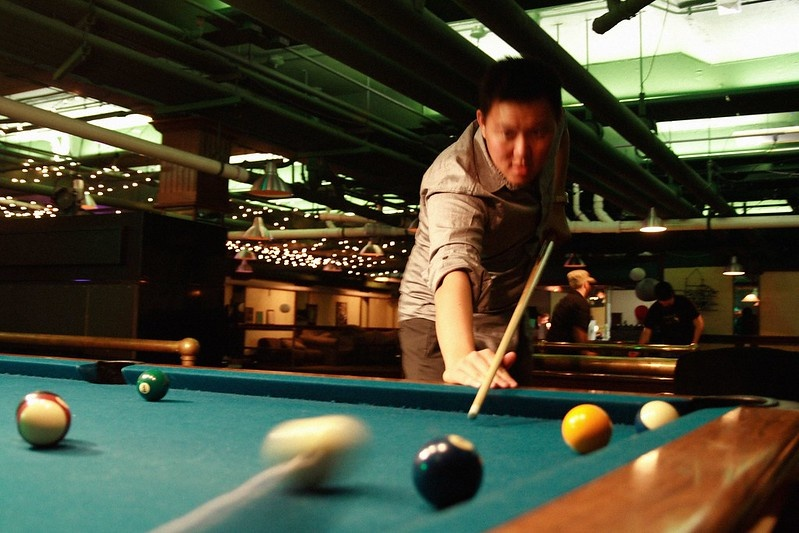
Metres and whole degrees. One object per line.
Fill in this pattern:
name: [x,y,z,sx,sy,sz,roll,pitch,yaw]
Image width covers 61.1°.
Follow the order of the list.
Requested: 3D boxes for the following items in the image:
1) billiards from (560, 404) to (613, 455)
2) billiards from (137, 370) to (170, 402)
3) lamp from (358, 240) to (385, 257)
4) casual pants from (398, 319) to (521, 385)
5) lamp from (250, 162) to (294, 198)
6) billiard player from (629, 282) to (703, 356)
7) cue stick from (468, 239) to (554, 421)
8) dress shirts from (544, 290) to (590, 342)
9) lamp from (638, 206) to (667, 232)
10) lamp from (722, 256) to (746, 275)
billiards: [0.618,0.535,2.254,0.155,0.149,0.147,-17,9,26]
billiards: [-1.082,0.526,2.970,0.102,0.107,0.106,-36,-18,23]
lamp: [-0.598,-0.474,14.698,0.536,0.281,0.507,-3,-11,19]
casual pants: [0.324,0.442,3.524,0.707,0.409,0.368,-1,-6,17]
lamp: [-1.654,-1.156,8.763,0.473,0.462,0.914,3,0,-8]
billiard player: [3.480,0.601,8.618,0.648,0.831,0.606,4,0,27]
cue stick: [0.518,0.224,2.955,0.071,0.063,1.234,-10,28,31]
dress shirts: [1.984,0.623,7.690,0.449,0.566,0.698,-6,-11,0]
lamp: [3.659,-0.641,9.843,0.481,0.371,0.433,0,-13,9]
lamp: [6.961,0.004,14.067,0.495,0.364,0.441,3,-6,-13]
